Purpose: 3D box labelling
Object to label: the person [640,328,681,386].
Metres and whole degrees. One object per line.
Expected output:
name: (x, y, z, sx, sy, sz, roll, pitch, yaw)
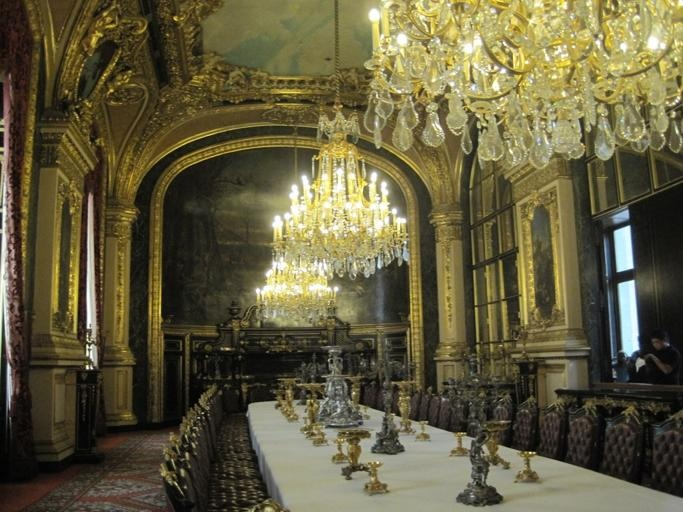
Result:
person: (3.773, 1.225, 7.291, 0.425, 0.785, 0.454, 12, -19, 6)
